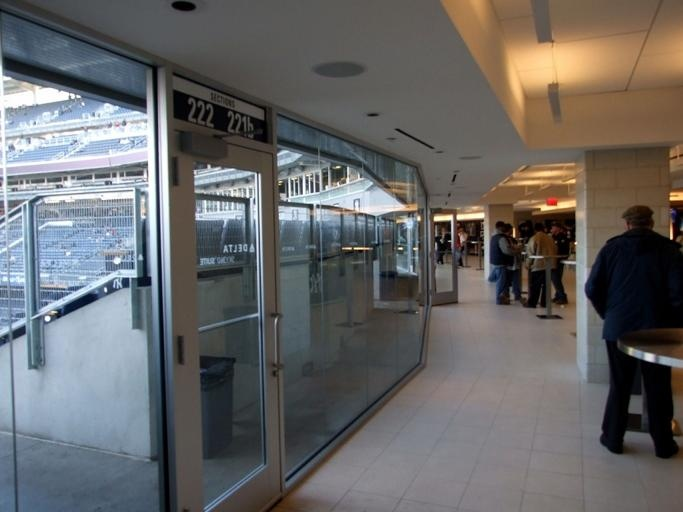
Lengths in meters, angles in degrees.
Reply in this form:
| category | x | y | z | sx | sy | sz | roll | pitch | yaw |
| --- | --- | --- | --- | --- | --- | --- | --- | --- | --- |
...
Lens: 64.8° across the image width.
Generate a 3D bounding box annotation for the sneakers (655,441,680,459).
| category | x | y | z | sx | sy | sz | roll | pitch | yaw |
| --- | --- | --- | --- | --- | --- | --- | --- | --- | --- |
| sneakers | 2.721 | 1.570 | 4.444 | 0.272 | 0.135 | 0.087 | -4 | 5 | -20 |
